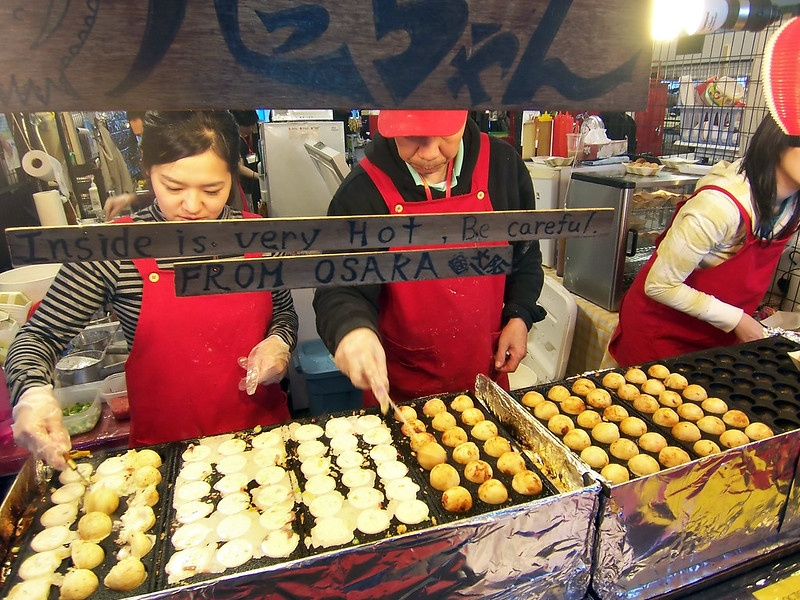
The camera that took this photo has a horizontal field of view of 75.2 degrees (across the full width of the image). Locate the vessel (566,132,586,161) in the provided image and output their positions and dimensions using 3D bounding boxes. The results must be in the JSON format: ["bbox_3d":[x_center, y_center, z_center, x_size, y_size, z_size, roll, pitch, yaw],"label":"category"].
[{"bbox_3d":[1.337,-1.169,3.968,0.112,0.189,0.185,2,21,12],"label":"vessel"}]

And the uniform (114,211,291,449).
[{"bbox_3d":[-0.778,0.155,2.163,0.569,0.744,0.402,0,1,-34],"label":"uniform"}]

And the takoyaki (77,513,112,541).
[{"bbox_3d":[-0.883,0.658,1.507,0.075,0.040,0.075,43,50,14],"label":"takoyaki"}]

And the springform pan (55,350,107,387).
[{"bbox_3d":[-1.674,0.343,2.777,0.239,0.156,0.182,-14,26,-35],"label":"springform pan"}]

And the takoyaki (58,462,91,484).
[{"bbox_3d":[-1.026,0.547,1.635,0.099,0.048,0.033,46,16,7],"label":"takoyaki"}]

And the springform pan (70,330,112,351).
[{"bbox_3d":[-1.704,0.228,2.880,0.131,0.047,0.131,11,26,16],"label":"springform pan"}]

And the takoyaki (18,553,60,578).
[{"bbox_3d":[-0.982,0.726,1.420,0.098,0.026,0.075,-12,23,-24],"label":"takoyaki"}]

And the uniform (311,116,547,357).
[{"bbox_3d":[0.153,-0.209,2.314,1.096,1.011,0.581,-13,31,-18],"label":"uniform"}]

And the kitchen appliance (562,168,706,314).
[{"bbox_3d":[1.559,-0.404,3.511,0.595,0.774,0.816,0,15,-4],"label":"kitchen appliance"}]
